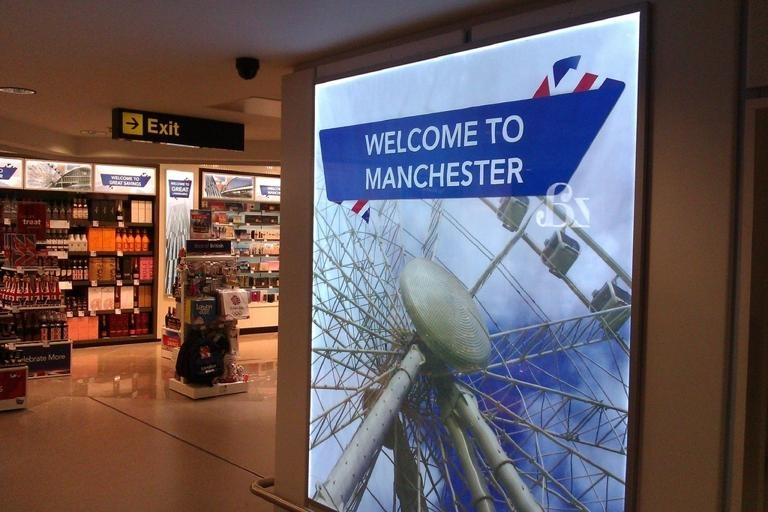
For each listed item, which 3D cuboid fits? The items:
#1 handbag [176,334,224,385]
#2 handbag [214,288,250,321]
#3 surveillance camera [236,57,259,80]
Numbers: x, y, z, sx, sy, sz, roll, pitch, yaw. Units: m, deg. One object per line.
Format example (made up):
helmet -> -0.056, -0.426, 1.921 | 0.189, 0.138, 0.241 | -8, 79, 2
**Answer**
handbag -> -2.476, 1.309, 8.176 | 0.660, 0.636, 0.610 | 1, 6, -39
handbag -> -2.117, 0.660, 8.270 | 0.421, 0.419, 0.223 | -4, 5, -35
surveillance camera -> -1.132, -1.538, 4.974 | 0.156, 0.117, 0.156 | 1, 11, 2
